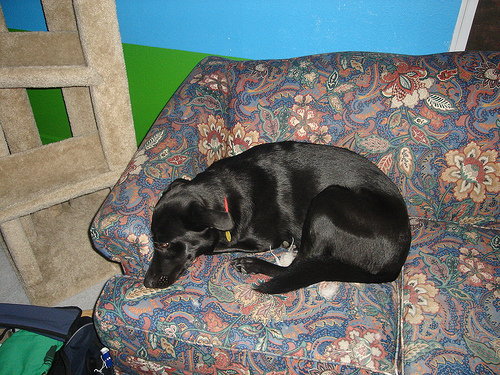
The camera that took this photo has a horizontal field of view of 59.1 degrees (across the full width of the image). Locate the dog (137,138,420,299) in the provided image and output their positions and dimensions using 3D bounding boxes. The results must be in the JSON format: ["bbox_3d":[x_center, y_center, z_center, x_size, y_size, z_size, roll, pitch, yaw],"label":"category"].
[{"bbox_3d":[0.127,0.157,1.740,0.981,0.578,0.363,-2,-56,4],"label":"dog"}]
